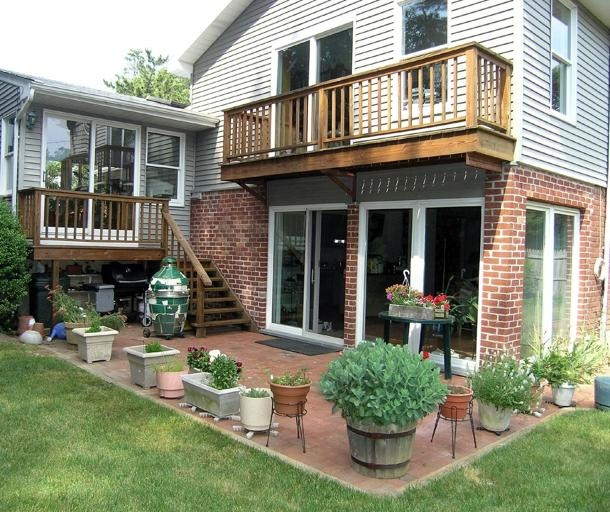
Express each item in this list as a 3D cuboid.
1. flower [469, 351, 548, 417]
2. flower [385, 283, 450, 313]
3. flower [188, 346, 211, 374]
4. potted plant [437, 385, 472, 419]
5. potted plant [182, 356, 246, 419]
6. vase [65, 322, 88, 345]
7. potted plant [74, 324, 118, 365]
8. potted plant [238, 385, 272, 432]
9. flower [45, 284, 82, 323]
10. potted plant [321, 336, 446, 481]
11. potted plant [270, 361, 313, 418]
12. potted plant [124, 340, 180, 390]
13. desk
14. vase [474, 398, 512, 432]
[{"bbox_3d":[2.089,1.415,5.439,0.621,0.496,0.680,22,-14,-26],"label":"flower"},{"bbox_3d":[1.484,0.562,7.172,0.555,0.188,0.413,3,2,40],"label":"flower"},{"bbox_3d":[-1.198,1.139,5.840,0.284,0.211,0.296,3,4,-8],"label":"flower"},{"bbox_3d":[1.449,1.349,5.038,0.386,0.305,0.401,1,-4,-2],"label":"potted plant"},{"bbox_3d":[-0.931,1.325,5.525,0.786,0.647,0.345,5,4,43],"label":"potted plant"},{"bbox_3d":[-3.693,1.177,8.453,0.381,0.350,0.432,2,-3,-13],"label":"vase"},{"bbox_3d":[-3.025,1.185,7.511,0.551,0.448,0.494,-1,2,-39],"label":"potted plant"},{"bbox_3d":[-0.500,1.471,5.183,0.355,0.390,0.353,1,1,-8],"label":"potted plant"},{"bbox_3d":[-4.022,0.806,8.724,0.374,0.596,1.008,-1,4,-40],"label":"flower"},{"bbox_3d":[0.667,1.290,4.499,1.021,1.072,0.848,1,-1,26],"label":"potted plant"},{"bbox_3d":[-0.165,1.289,4.936,0.361,0.281,0.350,1,0,-41],"label":"potted plant"},{"bbox_3d":[-1.945,1.363,6.441,0.446,0.388,0.539,-2,-13,19],"label":"potted plant"},{"bbox_3d":[1.529,1.268,7.297,0.971,0.774,0.880,0,1,24],"label":"desk"},{"bbox_3d":[1.927,1.600,5.342,0.320,0.267,0.316,3,-2,-27],"label":"vase"}]
